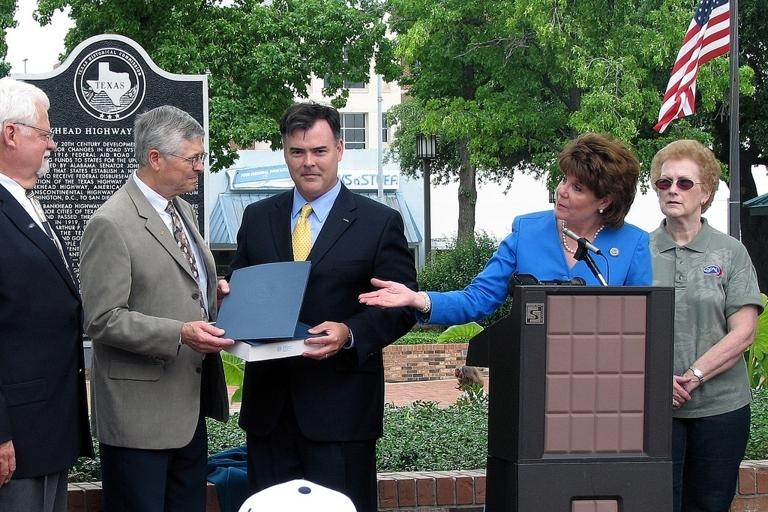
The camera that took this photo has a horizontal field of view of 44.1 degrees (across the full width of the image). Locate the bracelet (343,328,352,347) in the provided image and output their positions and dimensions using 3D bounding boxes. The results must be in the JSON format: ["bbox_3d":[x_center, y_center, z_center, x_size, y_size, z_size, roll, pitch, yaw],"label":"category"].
[{"bbox_3d":[-0.243,0.534,6.281,0.051,0.128,0.092,-1,-1,-16],"label":"bracelet"}]

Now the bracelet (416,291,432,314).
[{"bbox_3d":[0.259,0.305,6.260,0.052,0.118,0.114,-2,-23,-17],"label":"bracelet"}]

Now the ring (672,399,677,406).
[{"bbox_3d":[1.975,0.973,6.408,0.025,0.055,0.032,-1,-1,13],"label":"ring"}]

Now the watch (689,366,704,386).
[{"bbox_3d":[2.127,0.782,6.423,0.091,0.073,0.034,-1,-1,17],"label":"watch"}]

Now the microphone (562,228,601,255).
[{"bbox_3d":[1.272,-0.107,6.065,0.227,0.178,0.259,-1,0,1],"label":"microphone"}]
